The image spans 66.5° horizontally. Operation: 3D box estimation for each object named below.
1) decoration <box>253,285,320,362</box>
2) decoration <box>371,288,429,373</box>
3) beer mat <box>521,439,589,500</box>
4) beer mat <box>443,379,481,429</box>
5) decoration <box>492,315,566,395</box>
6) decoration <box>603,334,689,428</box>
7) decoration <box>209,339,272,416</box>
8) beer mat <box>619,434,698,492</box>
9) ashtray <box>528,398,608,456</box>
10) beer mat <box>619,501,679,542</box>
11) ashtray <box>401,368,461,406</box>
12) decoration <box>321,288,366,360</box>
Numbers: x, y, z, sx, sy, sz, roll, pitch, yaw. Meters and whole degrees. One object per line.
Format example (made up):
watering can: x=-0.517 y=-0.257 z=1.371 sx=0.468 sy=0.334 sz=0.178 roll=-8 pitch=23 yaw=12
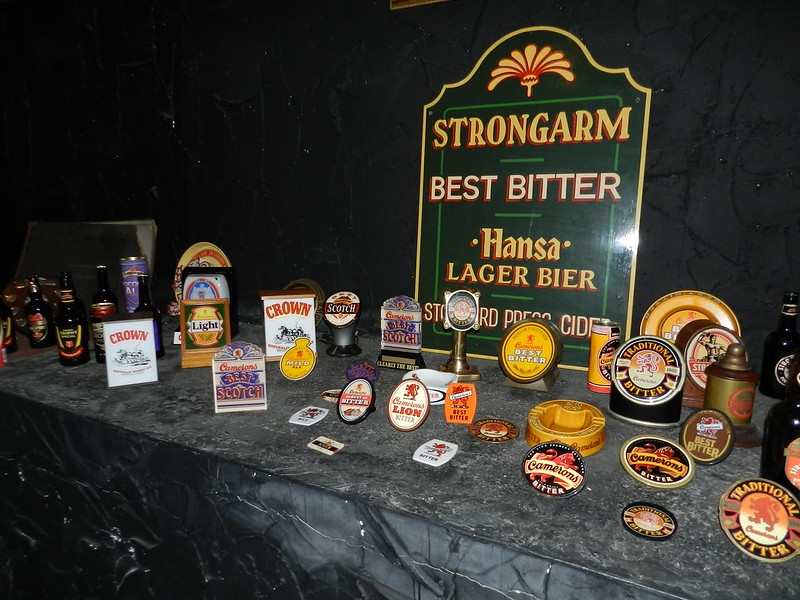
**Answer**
decoration: x=-0.442 y=0.115 z=2.650 sx=0.252 sy=0.268 sz=0.226 roll=-4 pitch=-4 yaw=17
decoration: x=0.013 y=0.137 z=2.610 sx=0.334 sy=0.425 sz=0.140 roll=2 pitch=8 yaw=19
beer mat: x=0.473 y=0.526 z=1.857 sx=0.144 sy=0.023 sz=0.136 roll=-25 pitch=45 yaw=-21
beer mat: x=0.218 y=0.379 z=2.161 sx=0.145 sy=0.177 sz=0.018 roll=3 pitch=-13 yaw=8
decoration: x=0.479 y=0.200 z=2.297 sx=0.251 sy=0.276 sz=0.093 roll=7 pitch=1 yaw=21
decoration: x=0.880 y=0.274 z=2.157 sx=0.257 sy=0.308 sz=0.192 roll=4 pitch=10 yaw=32
decoration: x=-0.585 y=0.297 z=2.238 sx=0.247 sy=0.328 sz=0.108 roll=0 pitch=10 yaw=-4
beer mat: x=0.794 y=0.506 z=1.891 sx=0.211 sy=0.120 sz=0.132 roll=2 pitch=7 yaw=13
ashtray: x=0.565 y=0.435 z=2.038 sx=0.241 sy=0.074 sz=0.239 roll=-10 pitch=21 yaw=-4
beer mat: x=0.706 y=0.634 z=1.731 sx=0.150 sy=0.062 sz=0.102 roll=1 pitch=7 yaw=10
ashtray: x=0.133 y=0.313 z=2.325 sx=0.134 sy=0.032 sz=0.160 roll=5 pitch=18 yaw=16
decoration: x=-0.252 y=0.102 z=2.704 sx=0.187 sy=0.273 sz=0.178 roll=0 pitch=11 yaw=8
